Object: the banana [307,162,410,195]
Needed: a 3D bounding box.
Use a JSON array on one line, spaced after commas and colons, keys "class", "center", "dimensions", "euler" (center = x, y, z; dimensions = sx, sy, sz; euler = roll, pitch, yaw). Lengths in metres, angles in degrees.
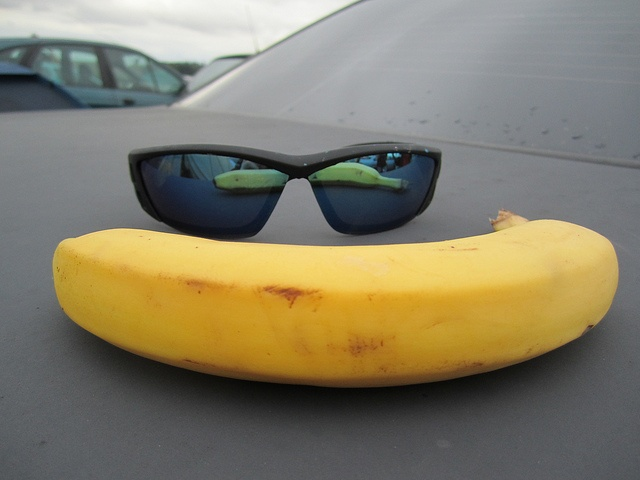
[{"class": "banana", "center": [0.112, -0.198, 1.673], "dimensions": [0.352, 0.083, 0.066], "euler": [5, -16, -4]}]
